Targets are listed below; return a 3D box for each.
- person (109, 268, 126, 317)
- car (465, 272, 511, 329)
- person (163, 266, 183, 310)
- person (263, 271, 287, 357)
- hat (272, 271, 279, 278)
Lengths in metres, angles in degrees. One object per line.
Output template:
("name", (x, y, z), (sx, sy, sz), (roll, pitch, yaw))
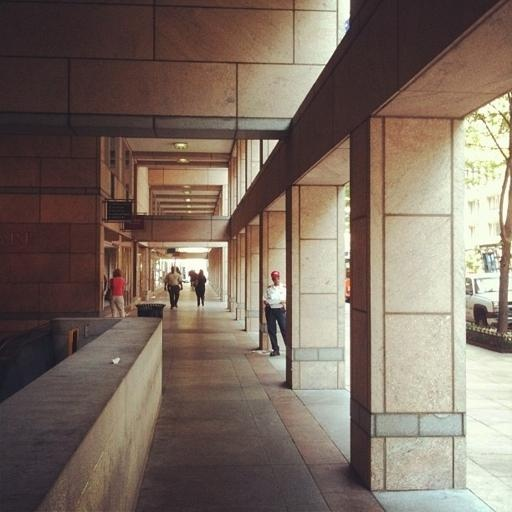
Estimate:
("person", (-3.669, 0.943, 15.708), (0.374, 1.324, 0.886), (-6, 1, -15))
("car", (5.782, 1.114, 14.821), (0.976, 1.208, 2.107), (0, -9, -1))
("person", (-3.558, 1.249, 25.561), (0.569, 1.920, 0.539), (-2, 20, -13))
("person", (0.394, 1.155, 11.843), (0.435, 1.666, 1.179), (-6, 1, 0))
("hat", (0.369, 0.337, 11.542), (0.159, 0.135, 0.356), (-8, 1, 2))
